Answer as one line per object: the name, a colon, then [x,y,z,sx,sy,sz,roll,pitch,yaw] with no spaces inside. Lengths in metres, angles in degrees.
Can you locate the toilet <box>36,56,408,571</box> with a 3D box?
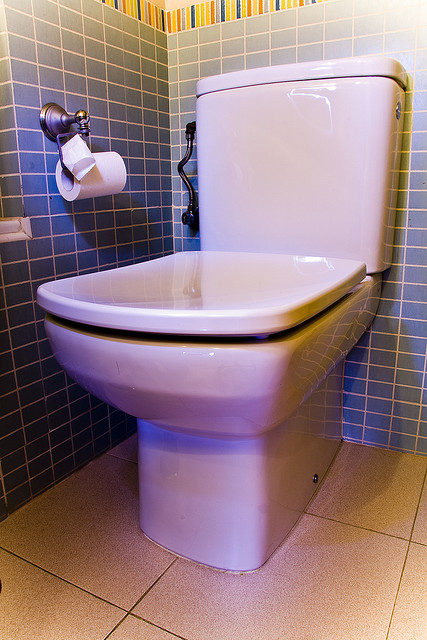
toilet: [0.022,-0.010,0.784,0.528,0.781,0.513,4,18,15]
